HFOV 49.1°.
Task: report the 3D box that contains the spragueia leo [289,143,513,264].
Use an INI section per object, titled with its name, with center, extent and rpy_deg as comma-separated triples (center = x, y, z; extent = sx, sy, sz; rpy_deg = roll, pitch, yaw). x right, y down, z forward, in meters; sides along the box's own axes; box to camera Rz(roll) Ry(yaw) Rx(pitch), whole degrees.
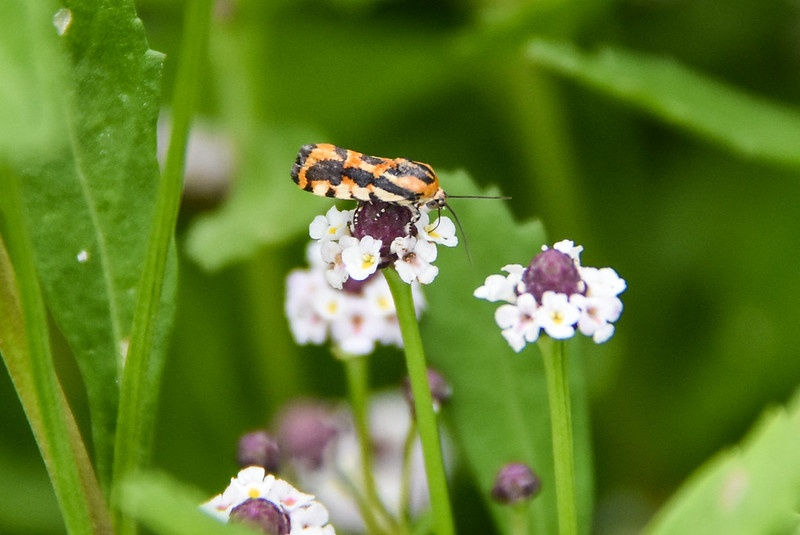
[spragueia leo]
center = -0.027, -0.075, 0.988
extent = 0.147, 0.053, 0.096
rpy_deg = 12, 31, 17
